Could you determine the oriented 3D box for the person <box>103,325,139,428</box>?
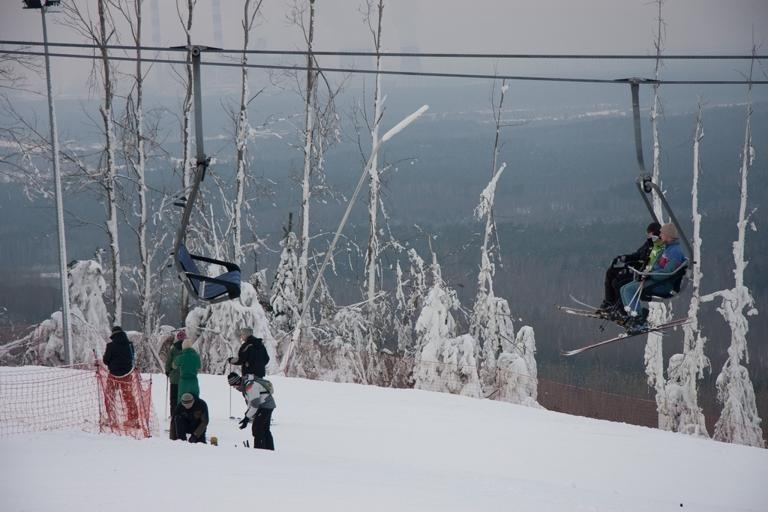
[{"bbox_3d":[-11.278,5.168,55.404,1.497,4.288,0.713,2,-7,-13],"label":"person"}]
